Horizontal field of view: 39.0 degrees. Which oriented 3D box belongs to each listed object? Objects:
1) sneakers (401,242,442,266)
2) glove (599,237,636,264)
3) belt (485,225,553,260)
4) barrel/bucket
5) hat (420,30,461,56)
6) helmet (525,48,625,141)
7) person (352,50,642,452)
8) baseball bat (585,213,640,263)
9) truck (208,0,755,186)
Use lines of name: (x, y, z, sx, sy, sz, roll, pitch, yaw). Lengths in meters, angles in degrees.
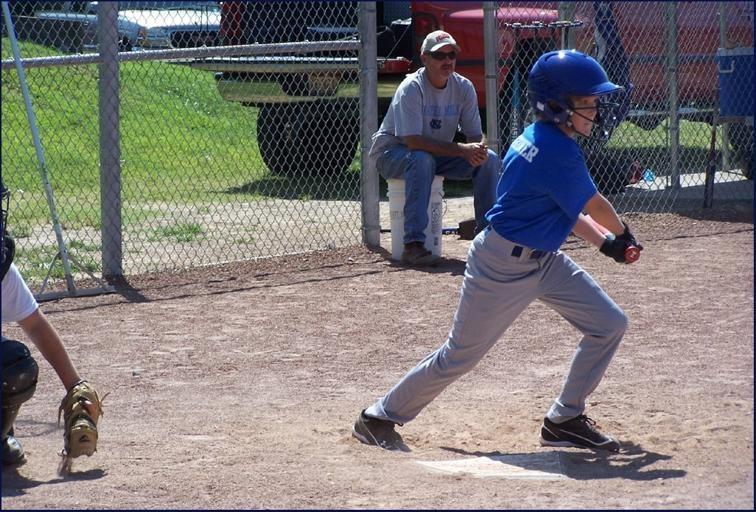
sneakers: (0.391, -0.012, 9.758, 0.339, 0.172, 0.174, 2, 13, 18)
glove: (1.472, -0.025, 6.648, 0.224, 0.091, 0.131, 21, -16, -1)
belt: (0.846, -0.092, 6.659, 0.297, 0.069, 0.237, 21, 1, 6)
barrel/bucket: (0.309, -0.346, 9.847, 0.767, 0.956, 0.694, 0, -1, -2)
hat: (0.509, -1.907, 9.584, 0.251, 0.166, 0.318, -3, 9, -14)
helmet: (1.287, -1.054, 6.784, 0.638, 0.479, 0.431, 4, 11, 14)
person: (0.866, -0.010, 6.726, 1.488, 2.490, 0.435, 1, 14, 4)
baseball bat: (1.448, -0.101, 6.662, 0.287, 0.101, 0.183, 34, 18, 28)
truck: (1.428, -2.468, 13.607, 5.716, 2.299, 2.984, -9, 12, -38)
